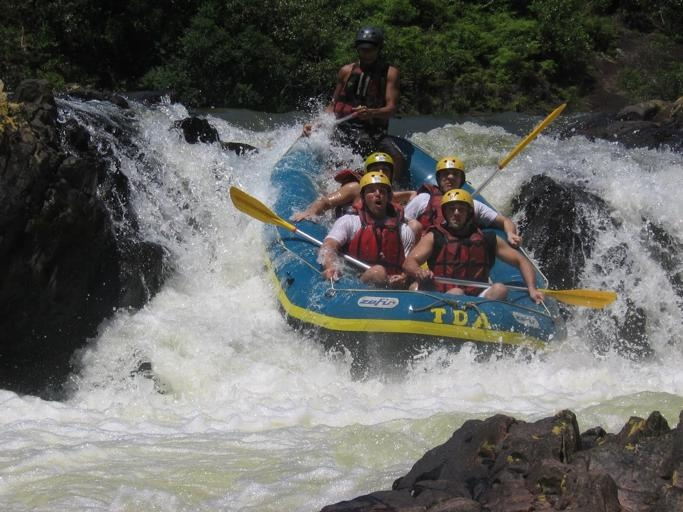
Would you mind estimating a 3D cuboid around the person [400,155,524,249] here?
[{"bbox_3d":[1.371,-0.699,11.752,0.829,0.647,1.542,-1,22,0],"label":"person"}]

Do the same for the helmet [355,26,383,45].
[{"bbox_3d":[0.381,-2.885,12.569,0.346,0.234,0.286,3,35,0],"label":"helmet"}]

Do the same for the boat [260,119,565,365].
[{"bbox_3d":[0.637,-0.107,11.549,3.155,0.792,4.251,-26,45,-33],"label":"boat"}]

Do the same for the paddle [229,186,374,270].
[{"bbox_3d":[-0.430,-0.324,11.498,1.746,0.210,0.077,33,36,17],"label":"paddle"}]

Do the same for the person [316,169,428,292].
[{"bbox_3d":[0.361,-0.255,11.231,1.117,0.815,1.901,2,39,-5],"label":"person"}]

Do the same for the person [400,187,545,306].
[{"bbox_3d":[1.431,-0.051,11.106,1.157,0.690,1.560,2,64,-27],"label":"person"}]

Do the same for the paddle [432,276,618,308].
[{"bbox_3d":[2.105,0.412,11.106,1.475,0.162,0.187,8,72,-4],"label":"paddle"}]
